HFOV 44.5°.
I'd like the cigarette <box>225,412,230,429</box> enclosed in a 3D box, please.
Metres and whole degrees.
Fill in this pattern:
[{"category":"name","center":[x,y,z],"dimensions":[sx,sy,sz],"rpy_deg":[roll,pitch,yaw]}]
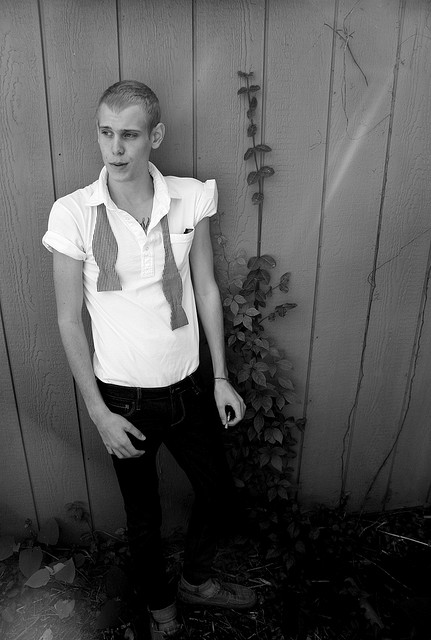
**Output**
[{"category":"cigarette","center":[0.037,0.305,1.598],"dimensions":[0.012,0.043,0.007],"rpy_deg":[12,-21,13]}]

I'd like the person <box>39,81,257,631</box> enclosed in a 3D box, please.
[{"category":"person","center":[-0.184,0.167,1.546],"dimensions":[0.536,1.586,0.471],"rpy_deg":[-7,21,-21]}]

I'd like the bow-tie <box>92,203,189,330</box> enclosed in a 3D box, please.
[{"category":"bow-tie","center":[-0.207,-0.142,1.367],"dimensions":[0.303,0.419,0.019],"rpy_deg":[-3,3,-37]}]
